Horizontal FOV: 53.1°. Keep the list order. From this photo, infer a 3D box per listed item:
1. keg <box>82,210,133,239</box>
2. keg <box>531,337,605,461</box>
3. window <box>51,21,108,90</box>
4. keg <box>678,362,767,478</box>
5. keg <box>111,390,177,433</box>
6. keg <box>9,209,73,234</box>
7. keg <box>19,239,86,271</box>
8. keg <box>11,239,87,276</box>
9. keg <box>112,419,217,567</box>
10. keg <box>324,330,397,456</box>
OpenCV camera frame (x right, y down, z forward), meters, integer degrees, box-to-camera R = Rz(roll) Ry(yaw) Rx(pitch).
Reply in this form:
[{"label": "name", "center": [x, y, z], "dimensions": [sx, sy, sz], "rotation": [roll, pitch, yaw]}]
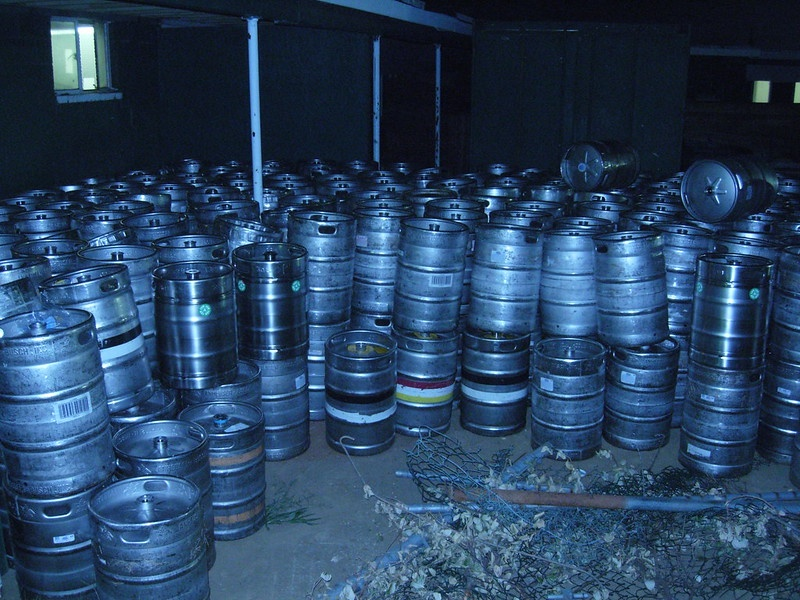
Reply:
[{"label": "keg", "center": [-2.710, -0.711, 7.252], "dimensions": [0.441, 0.222, 0.383], "rotation": [7, 12, 24]}, {"label": "keg", "center": [1.477, 0.906, 7.053], "dimensions": [0.639, 1.030, 0.773], "rotation": [2, 20, 12]}, {"label": "window", "center": [-5.325, -3.979, 12.965], "dimensions": [0.080, 1.039, 2.216], "rotation": [-6, 19, -40]}, {"label": "keg", "center": [2.744, 1.029, 6.863], "dimensions": [0.601, 1.002, 0.372], "rotation": [3, 22, 15]}, {"label": "keg", "center": [-1.882, 0.809, 5.851], "dimensions": [0.379, 0.251, 0.297], "rotation": [-1, 11, -7]}, {"label": "keg", "center": [-3.209, -0.705, 7.219], "dimensions": [0.417, 0.101, 0.325], "rotation": [0, 12, -5]}, {"label": "keg", "center": [-2.740, -0.390, 6.299], "dimensions": [0.475, 0.221, 0.372], "rotation": [-1, 10, -1]}, {"label": "keg", "center": [-2.753, -0.384, 6.301], "dimensions": [0.504, 0.237, 0.391], "rotation": [1, 15, -5]}, {"label": "keg", "center": [-1.649, 1.230, 5.503], "dimensions": [0.875, 0.642, 0.719], "rotation": [-11, 46, -2]}, {"label": "keg", "center": [-0.349, 0.829, 7.108], "dimensions": [0.631, 1.056, 0.542], "rotation": [-1, 21, 5]}]
